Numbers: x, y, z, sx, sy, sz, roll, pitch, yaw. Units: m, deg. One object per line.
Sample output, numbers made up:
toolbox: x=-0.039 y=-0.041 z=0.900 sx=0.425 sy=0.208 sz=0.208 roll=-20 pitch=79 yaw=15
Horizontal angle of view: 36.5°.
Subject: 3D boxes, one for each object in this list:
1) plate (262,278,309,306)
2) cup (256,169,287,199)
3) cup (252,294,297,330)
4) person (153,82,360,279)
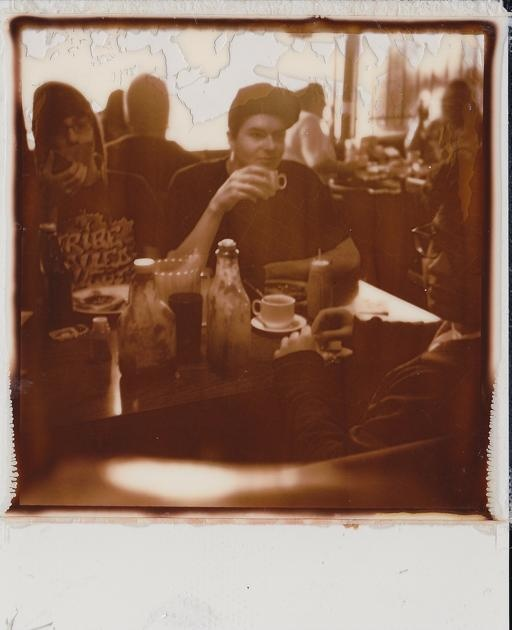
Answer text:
plate: x=0.077 y=-0.060 z=2.037 sx=0.071 sy=0.068 sz=0.063 roll=1 pitch=6 yaw=-1
cup: x=0.039 y=-0.343 z=2.024 sx=0.072 sy=0.084 sz=0.053 roll=1 pitch=1 yaw=-10
cup: x=0.050 y=-0.010 z=2.037 sx=0.089 sy=0.081 sz=0.081 roll=-1 pitch=20 yaw=-3
person: x=0.023 y=-0.298 z=2.215 sx=0.503 sy=0.847 sz=0.401 roll=-2 pitch=3 yaw=-7
